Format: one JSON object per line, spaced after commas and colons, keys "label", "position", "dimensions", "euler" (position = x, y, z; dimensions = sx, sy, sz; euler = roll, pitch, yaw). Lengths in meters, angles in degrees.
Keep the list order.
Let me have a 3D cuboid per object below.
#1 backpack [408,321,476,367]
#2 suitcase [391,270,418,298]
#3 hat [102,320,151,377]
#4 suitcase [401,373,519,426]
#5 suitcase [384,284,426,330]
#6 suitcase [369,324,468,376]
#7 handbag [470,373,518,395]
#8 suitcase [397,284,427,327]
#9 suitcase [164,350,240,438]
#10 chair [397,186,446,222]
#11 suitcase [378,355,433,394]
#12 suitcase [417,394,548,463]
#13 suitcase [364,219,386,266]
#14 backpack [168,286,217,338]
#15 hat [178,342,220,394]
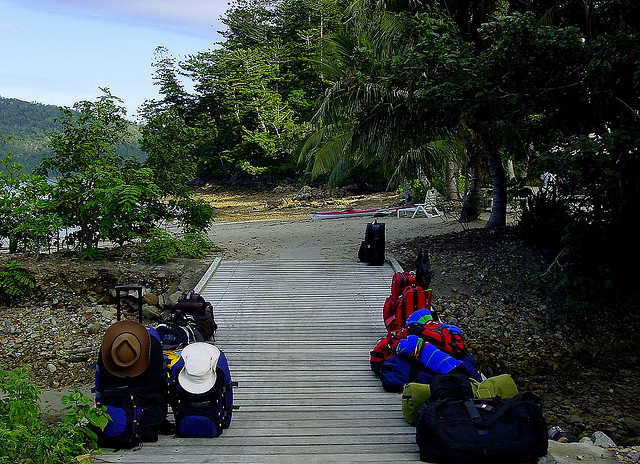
{"label": "backpack", "position": [1.574, 1.376, 6.953], "dimensions": [0.700, 0.208, 0.687], "euler": [23, 12, 30]}
{"label": "suitcase", "position": [1.391, 0.836, 8.858], "dimensions": [0.443, 0.455, 0.601], "euler": [0, 3, 3]}
{"label": "hat", "position": [-2.180, 1.319, 5.947], "dimensions": [0.688, 0.582, 0.259], "euler": [-1, 9, 1]}
{"label": "suitcase", "position": [1.677, 1.949, 6.357], "dimensions": [1.274, 0.334, 0.657], "euler": [-1, -7, -10]}
{"label": "suitcase", "position": [1.350, 1.174, 8.204], "dimensions": [0.626, 0.651, 0.300], "euler": [0, 10, -6]}
{"label": "suitcase", "position": [1.390, 1.469, 7.170], "dimensions": [1.080, 0.355, 0.975], "euler": [-17, 16, -22]}
{"label": "handbag", "position": [2.112, 1.831, 6.445], "dimensions": [0.429, 0.324, 0.265], "euler": [-12, 8, 9]}
{"label": "suitcase", "position": [1.439, 1.150, 8.201], "dimensions": [0.439, 0.601, 0.238], "euler": [-4, 12, -32]}
{"label": "suitcase", "position": [-1.518, 2.071, 6.410], "dimensions": [0.893, 0.770, 0.893], "euler": [-6, 20, -27]}
{"label": "chair", "position": [4.213, -1.057, 21.086], "dimensions": [2.211, 1.107, 1.334], "euler": [0, 3, 9]}
{"label": "suitcase", "position": [1.083, 1.885, 7.044], "dimensions": [0.661, 0.184, 0.554], "euler": [5, 0, 1]}
{"label": "suitcase", "position": [1.799, 2.161, 5.847], "dimensions": [1.186, 0.302, 0.741], "euler": [-2, -2, 7]}
{"label": "suitcase", "position": [1.307, 0.281, 12.451], "dimensions": [0.474, 1.069, 0.612], "euler": [2, 10, 4]}
{"label": "backpack", "position": [-1.897, 1.210, 8.037], "dimensions": [0.733, 0.576, 0.533], "euler": [31, -14, -39]}
{"label": "hat", "position": [-1.413, 1.577, 6.132], "dimensions": [0.538, 0.469, 0.167], "euler": [1, -10, 1]}
